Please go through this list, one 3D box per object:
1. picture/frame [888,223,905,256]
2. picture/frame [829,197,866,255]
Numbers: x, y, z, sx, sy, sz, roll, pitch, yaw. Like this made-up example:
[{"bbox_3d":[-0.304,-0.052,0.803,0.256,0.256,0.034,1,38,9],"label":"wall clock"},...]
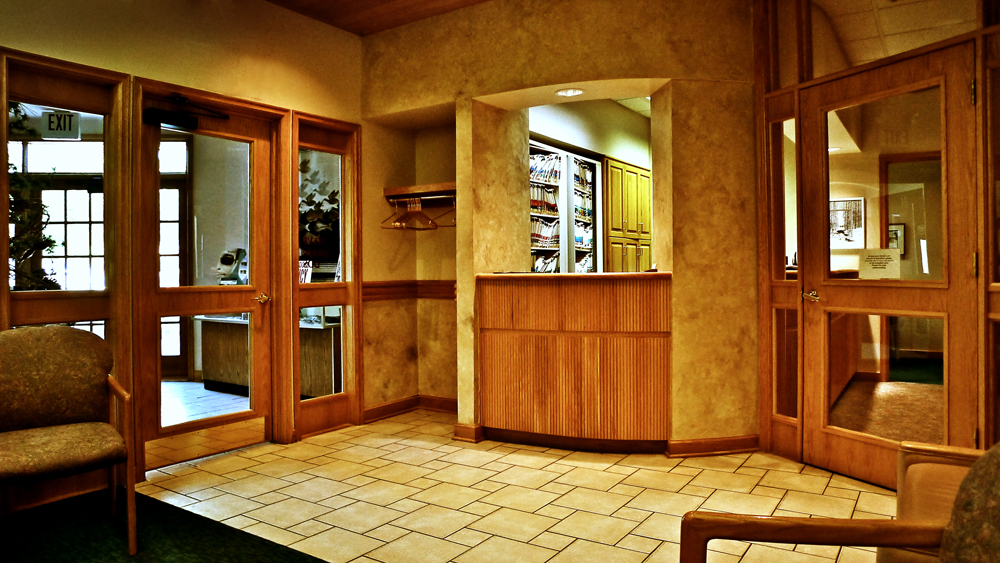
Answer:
[{"bbox_3d":[3.459,-0.371,6.002,0.149,0.257,0.072,6,15,30],"label":"picture/frame"},{"bbox_3d":[3.179,-0.530,6.280,0.106,0.466,0.348,-10,15,-32],"label":"picture/frame"}]
